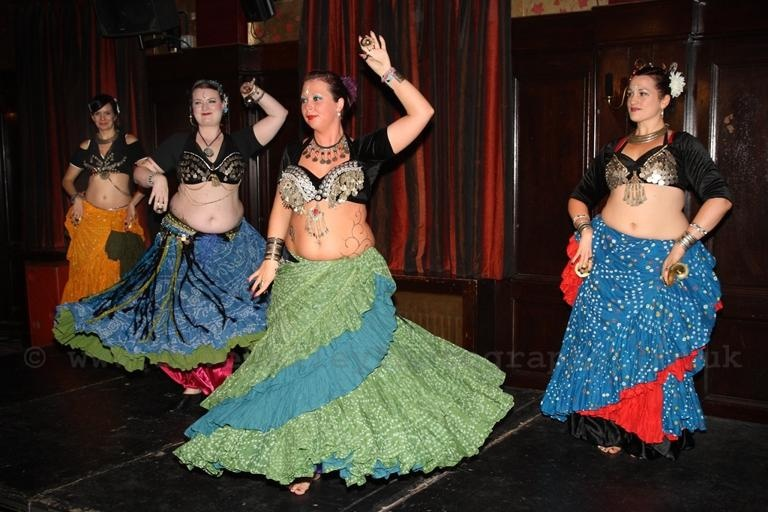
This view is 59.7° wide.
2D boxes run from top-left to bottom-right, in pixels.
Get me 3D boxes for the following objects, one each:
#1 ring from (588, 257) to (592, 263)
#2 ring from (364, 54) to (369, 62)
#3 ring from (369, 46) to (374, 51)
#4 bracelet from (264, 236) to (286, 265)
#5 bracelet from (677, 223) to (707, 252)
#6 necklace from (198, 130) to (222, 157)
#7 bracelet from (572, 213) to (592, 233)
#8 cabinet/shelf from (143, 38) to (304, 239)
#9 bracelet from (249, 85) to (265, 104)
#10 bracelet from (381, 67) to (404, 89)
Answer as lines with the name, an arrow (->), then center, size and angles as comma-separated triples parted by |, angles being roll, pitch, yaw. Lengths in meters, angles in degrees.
ring -> 1.257, 0.028, 4.079 | 0.022, 0.035, 0.017 | 0, 4, 20
ring -> -0.090, -1.075, 3.619 | 0.029, 0.036, 0.006 | -8, -28, 28
ring -> -0.065, -1.104, 3.568 | 0.018, 0.019, 0.006 | 14, 1, 13
bracelet -> -0.609, -0.030, 3.827 | 0.121, 0.149, 0.121 | 1, -13, 42
bracelet -> 1.764, -0.098, 3.831 | 0.060, 0.133, 0.159 | 40, 22, -22
necklace -> -1.195, -0.763, 4.589 | 0.183, 0.254, 0.013 | 4, -35, -17
bracelet -> 1.225, -0.196, 4.129 | 0.081, 0.086, 0.115 | 0, -9, 6
cabinet/shelf -> -1.151, -0.906, 5.044 | 1.511, 1.751, 0.904 | 0, 1, 12
bracelet -> -0.865, -1.095, 4.604 | 0.100, 0.107, 0.102 | 25, 3, -20
bracelet -> 0.052, -0.981, 3.670 | 0.113, 0.097, 0.175 | -1, 15, 0
